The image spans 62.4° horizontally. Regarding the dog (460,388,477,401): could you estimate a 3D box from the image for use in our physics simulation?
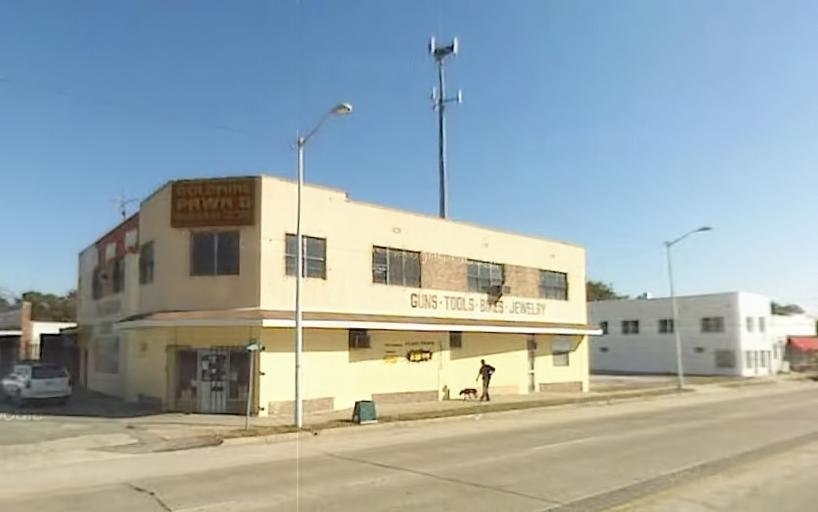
[{"bbox_3d":[3.682,8.147,40.383,1.161,0.653,1.322,0,-11,-5],"label":"dog"}]
